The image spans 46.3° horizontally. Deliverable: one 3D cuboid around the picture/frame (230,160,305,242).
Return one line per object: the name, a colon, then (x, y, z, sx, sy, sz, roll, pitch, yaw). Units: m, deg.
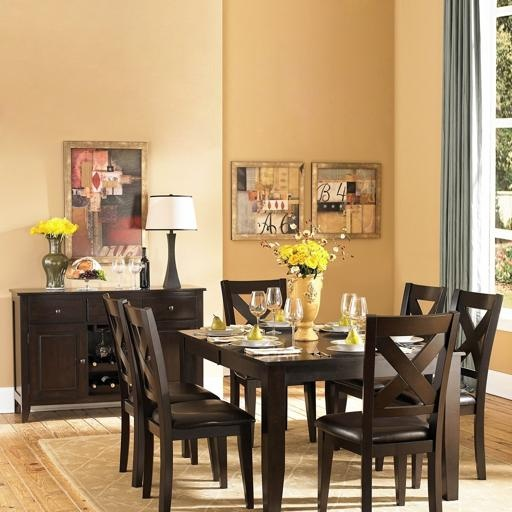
picture/frame: (0.073, -0.545, 5.971, 0.946, 1.023, 0.075, -1, 5, -16)

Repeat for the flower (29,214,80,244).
flower: (-1.576, -0.193, 4.697, 0.248, 0.173, 0.259, 0, 0, -41)

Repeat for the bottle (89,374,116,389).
bottle: (-1.209, 1.000, 4.704, 0.087, 0.095, 0.323, 1, 3, -35)

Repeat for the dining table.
dining table: (0.301, 0.633, 2.733, 0.764, 0.562, 1.106, 2, -2, -28)

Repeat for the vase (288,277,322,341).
vase: (0.260, 0.286, 3.158, 0.185, 0.340, 0.194, -2, 3, -42)

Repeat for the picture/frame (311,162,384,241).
picture/frame: (0.900, -0.574, 6.165, 0.983, 1.064, 0.079, 0, 2, -13)

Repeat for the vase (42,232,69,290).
vase: (-1.573, 0.050, 4.703, 0.277, 0.421, 0.281, 3, 8, 3)

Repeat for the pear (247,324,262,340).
pear: (-0.006, 0.359, 2.781, 0.058, 0.085, 0.060, -1, 2, -12)

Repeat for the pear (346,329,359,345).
pear: (0.424, 0.357, 2.635, 0.056, 0.083, 0.060, -3, 3, -27)

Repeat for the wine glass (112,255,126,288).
wine glass: (-1.140, 0.142, 4.995, 0.115, 0.254, 0.323, -4, 5, -13)
